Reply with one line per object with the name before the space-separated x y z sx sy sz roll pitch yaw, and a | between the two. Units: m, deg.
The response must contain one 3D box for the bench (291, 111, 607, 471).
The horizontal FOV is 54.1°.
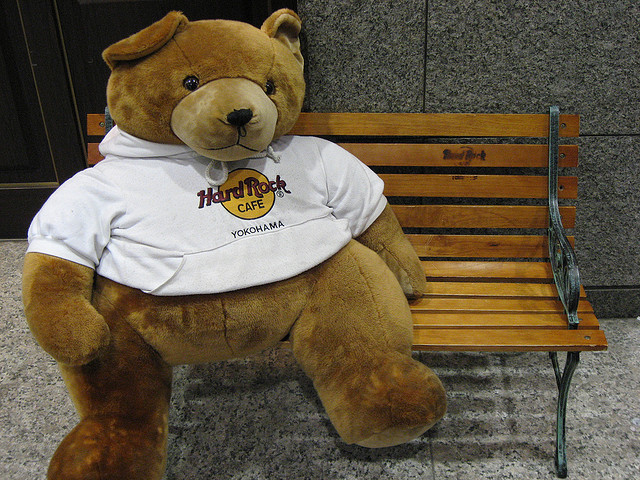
bench | 0.675 0.263 3.468 1.642 1.874 1.239 3 21 7
